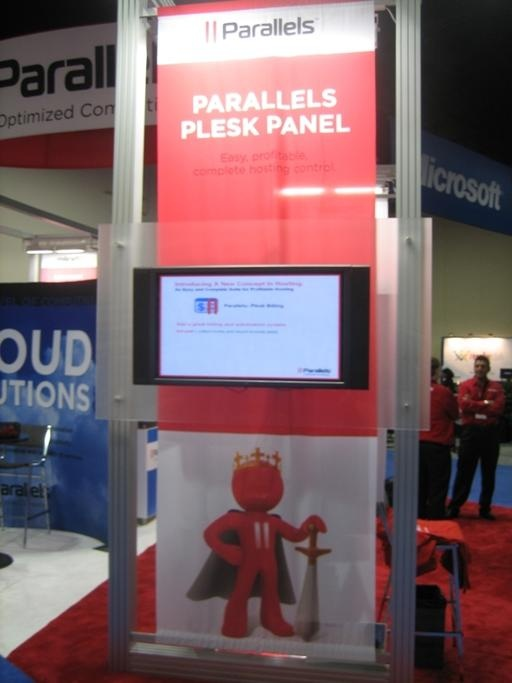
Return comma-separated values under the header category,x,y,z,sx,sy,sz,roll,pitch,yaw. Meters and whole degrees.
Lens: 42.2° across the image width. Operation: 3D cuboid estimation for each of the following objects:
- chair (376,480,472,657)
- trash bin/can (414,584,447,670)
category,x,y,z,sx,sy,sz,roll,pitch,yaw
chair,0.749,0.975,3.060,0.440,0.901,0.440,-1,-2,26
trash bin/can,0.749,1.256,2.958,0.168,0.408,0.352,-1,-5,13
